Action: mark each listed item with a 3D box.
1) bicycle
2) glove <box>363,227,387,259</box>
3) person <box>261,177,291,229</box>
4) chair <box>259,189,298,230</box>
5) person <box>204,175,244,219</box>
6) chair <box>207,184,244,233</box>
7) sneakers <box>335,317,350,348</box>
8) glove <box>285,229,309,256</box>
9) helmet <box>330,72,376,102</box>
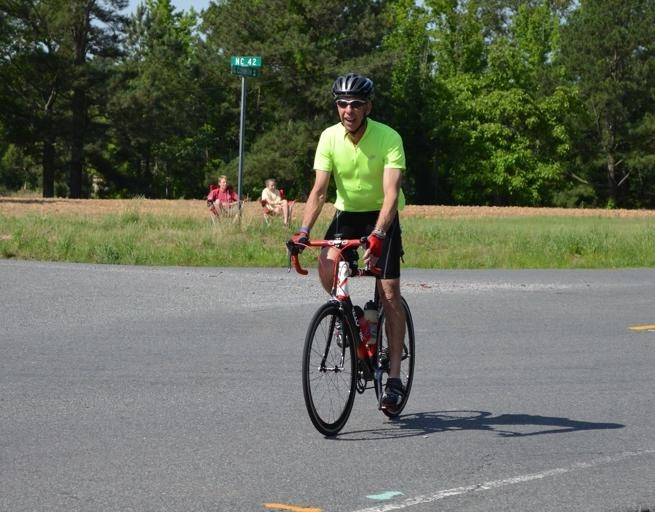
[{"bbox_3d":[0.317,0.719,11.177,1.514,1.877,0.659,-5,9,-44],"label":"bicycle"},{"bbox_3d":[0.442,-0.109,10.687,0.085,0.250,0.181,12,-27,-10],"label":"glove"},{"bbox_3d":[-1.216,-1.223,28.199,0.665,1.302,0.622,-15,-13,39],"label":"person"},{"bbox_3d":[-1.200,-1.218,28.188,0.682,1.315,0.698,0,-10,-44],"label":"chair"},{"bbox_3d":[-2.600,-1.541,27.887,0.508,0.932,0.594,12,-12,8],"label":"person"},{"bbox_3d":[-2.366,-1.045,26.802,0.786,0.918,2.495,0,33,-6],"label":"chair"},{"bbox_3d":[0.146,0.728,10.931,0.092,0.291,0.126,-1,0,-5],"label":"sneakers"},{"bbox_3d":[-0.308,-0.118,10.977,0.160,0.135,0.249,-12,20,-24],"label":"glove"},{"bbox_3d":[0.243,-1.582,10.987,0.369,0.250,0.311,2,7,-3],"label":"helmet"}]
